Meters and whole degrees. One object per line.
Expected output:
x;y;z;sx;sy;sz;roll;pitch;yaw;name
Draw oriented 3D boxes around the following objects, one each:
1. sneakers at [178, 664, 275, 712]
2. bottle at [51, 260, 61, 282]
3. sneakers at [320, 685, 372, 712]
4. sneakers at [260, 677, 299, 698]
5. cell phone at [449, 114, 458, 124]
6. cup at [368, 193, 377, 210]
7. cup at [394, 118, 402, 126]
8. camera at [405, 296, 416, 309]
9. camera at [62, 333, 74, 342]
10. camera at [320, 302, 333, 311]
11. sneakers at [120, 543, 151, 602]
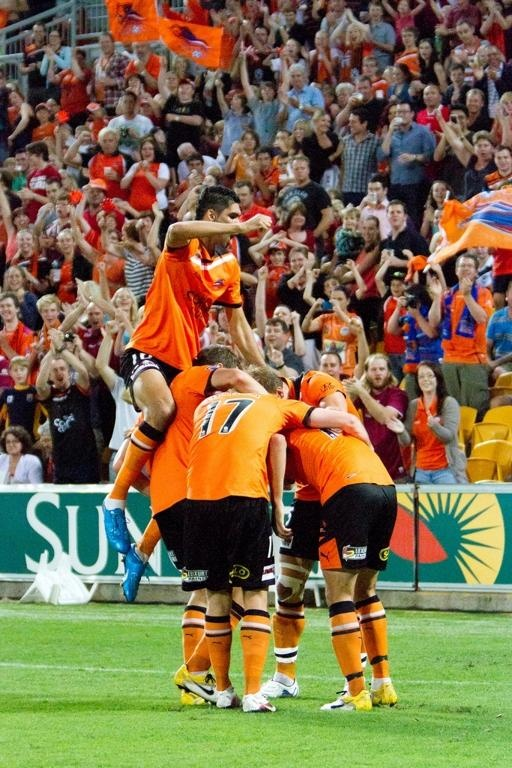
-0.149;1.400;5.285;0.523;0.207;0.176;5;-13;31;sneakers
-2.272;-1.271;13.273;0.088;0.257;0.245;0;2;-22;bottle
0.403;1.378;5.151;0.242;0.104;0.091;-2;-24;6;sneakers
0.110;1.447;5.565;0.209;0.096;0.074;0;46;-6;sneakers
2.046;-2.766;12.206;0.065;0.118;0.180;1;1;0;cell phone
1.202;-1.904;12.196;0.121;0.204;0.129;-1;1;0;cup
1.491;-2.763;12.382;0.076;0.060;0.073;0;4;0;cup
1.371;-0.729;10.455;0.069;0.104;0.103;-1;-3;5;camera
-1.706;-0.428;10.672;0.088;0.078;0.054;0;2;-24;camera
0.677;-0.749;11.297;0.094;0.104;0.105;-1;5;-36;camera
-0.654;0.955;6.055;0.148;0.328;0.113;-4;-12;28;sneakers
